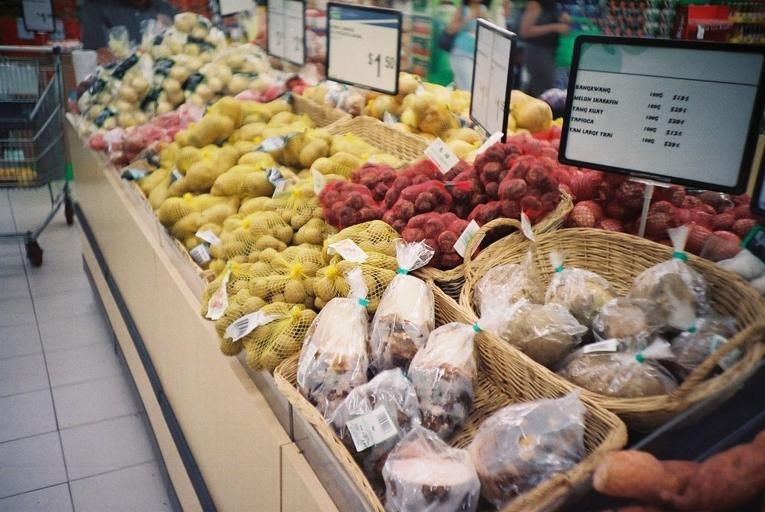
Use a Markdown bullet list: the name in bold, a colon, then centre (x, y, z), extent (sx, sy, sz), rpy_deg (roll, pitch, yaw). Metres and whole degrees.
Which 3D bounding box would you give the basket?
- **basket**: centre (-0.553, 0.085, 2.754), extent (1.328, 0.457, 2.516), rpy_deg (-36, 44, -27)
